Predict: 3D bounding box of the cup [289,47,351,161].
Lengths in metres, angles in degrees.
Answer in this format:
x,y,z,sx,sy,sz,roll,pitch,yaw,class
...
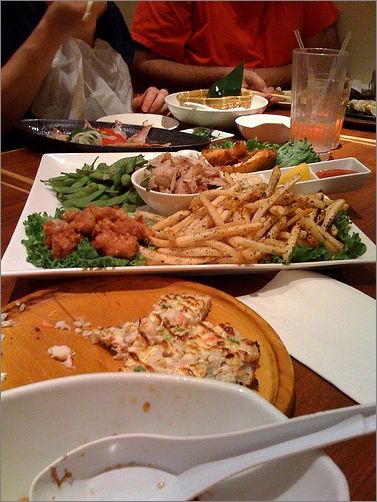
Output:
x,y,z,sx,sy,sz,roll,pitch,yaw,class
0.794,-0.865,2.431,0.363,0.583,0.372,-2,29,1,cup

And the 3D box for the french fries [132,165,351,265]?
x,y,z,sx,sy,sz,roll,pitch,yaw,class
0.194,-0.087,1.383,0.576,0.119,0.355,-3,38,5,french fries

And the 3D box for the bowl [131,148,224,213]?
x,y,z,sx,sy,sz,roll,pitch,yaw,class
-0.067,-0.319,1.696,0.317,0.136,0.303,-3,35,2,bowl

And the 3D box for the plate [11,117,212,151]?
x,y,z,sx,sy,sz,roll,pitch,yaw,class
-0.477,-0.723,2.489,0.835,0.096,1.401,13,21,41,plate

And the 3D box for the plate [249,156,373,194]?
x,y,z,sx,sy,sz,roll,pitch,yaw,class
0.544,-0.284,1.798,0.502,0.094,0.233,-5,29,-7,plate

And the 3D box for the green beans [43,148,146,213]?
x,y,z,sx,sy,sz,roll,pitch,yaw,class
-0.397,-0.329,1.794,0.349,0.240,0.509,8,16,35,green beans
